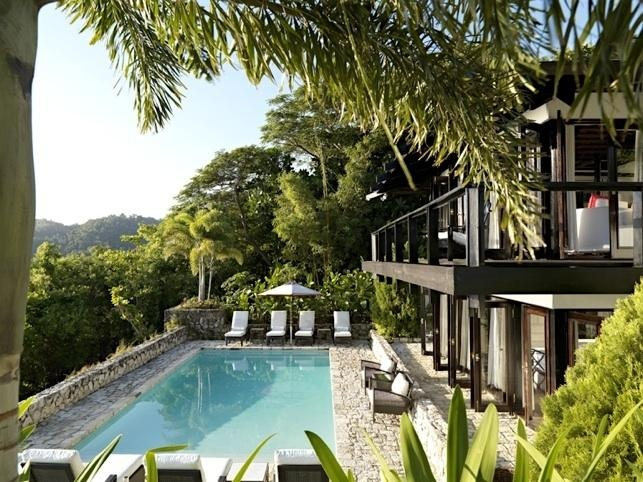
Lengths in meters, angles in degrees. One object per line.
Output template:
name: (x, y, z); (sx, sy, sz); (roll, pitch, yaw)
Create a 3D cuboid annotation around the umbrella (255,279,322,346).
umbrella: (-1.009, 2.180, 15.926); (1.693, 1.775, 1.845); (3, -7, -20)

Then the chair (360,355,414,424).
chair: (1.213, 2.697, 9.259); (0.731, 0.782, 1.602); (-5, 3, -1)
